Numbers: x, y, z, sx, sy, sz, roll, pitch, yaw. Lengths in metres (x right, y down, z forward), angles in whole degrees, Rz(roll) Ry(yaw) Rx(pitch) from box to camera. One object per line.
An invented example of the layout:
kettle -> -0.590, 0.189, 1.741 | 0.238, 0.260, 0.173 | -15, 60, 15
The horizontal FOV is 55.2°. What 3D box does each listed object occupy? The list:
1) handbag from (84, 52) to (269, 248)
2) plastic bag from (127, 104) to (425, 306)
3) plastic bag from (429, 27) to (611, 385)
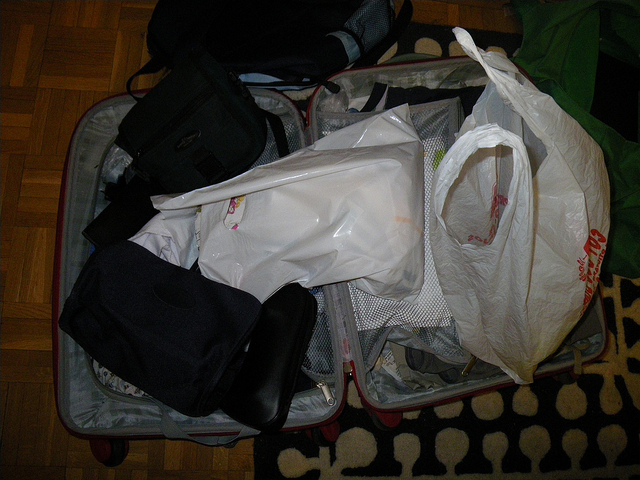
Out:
handbag -> -0.438, -0.267, 1.961 | 0.673, 0.389, 0.264 | -43, 4, 5
plastic bag -> -0.077, -0.094, 1.701 | 0.736, 0.562, 0.258 | -11, -24, 8
plastic bag -> 0.545, -0.081, 1.673 | 0.407, 0.768, 0.661 | -2, 30, 23
